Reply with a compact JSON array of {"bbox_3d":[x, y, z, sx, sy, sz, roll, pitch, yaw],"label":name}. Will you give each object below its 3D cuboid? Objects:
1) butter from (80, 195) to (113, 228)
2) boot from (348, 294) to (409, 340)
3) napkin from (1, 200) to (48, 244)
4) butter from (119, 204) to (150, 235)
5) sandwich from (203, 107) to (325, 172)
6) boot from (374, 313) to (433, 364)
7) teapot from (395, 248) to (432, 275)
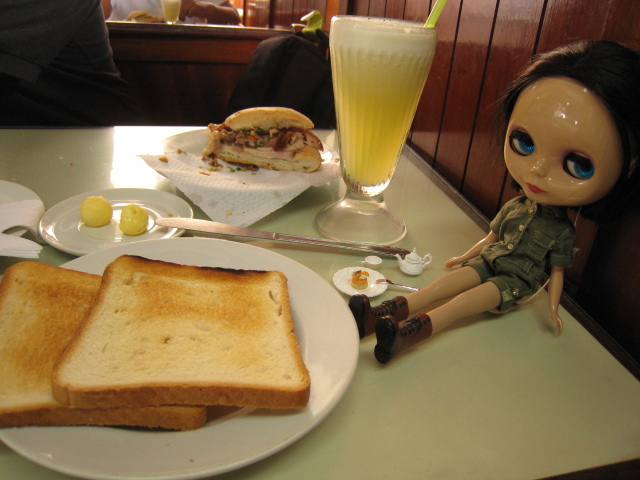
[{"bbox_3d":[-0.470,-0.059,0.982,0.062,0.069,0.060,-6,15,-20],"label":"butter"},{"bbox_3d":[0.117,0.116,0.777,0.131,0.062,0.047,19,-1,-23],"label":"boot"},{"bbox_3d":[-0.576,-0.026,0.935,0.084,0.032,0.097,-3,43,-22],"label":"napkin"},{"bbox_3d":[-0.389,-0.054,0.970,0.043,0.034,0.059,-7,-2,-12],"label":"butter"},{"bbox_3d":[-0.147,-0.263,1.232,0.310,0.170,0.152,4,2,13],"label":"sandwich"},{"bbox_3d":[0.132,0.138,0.726,0.107,0.071,0.038,-19,42,-25],"label":"boot"},{"bbox_3d":[0.185,0.042,0.915,0.057,0.050,0.045,9,18,6],"label":"teapot"}]
